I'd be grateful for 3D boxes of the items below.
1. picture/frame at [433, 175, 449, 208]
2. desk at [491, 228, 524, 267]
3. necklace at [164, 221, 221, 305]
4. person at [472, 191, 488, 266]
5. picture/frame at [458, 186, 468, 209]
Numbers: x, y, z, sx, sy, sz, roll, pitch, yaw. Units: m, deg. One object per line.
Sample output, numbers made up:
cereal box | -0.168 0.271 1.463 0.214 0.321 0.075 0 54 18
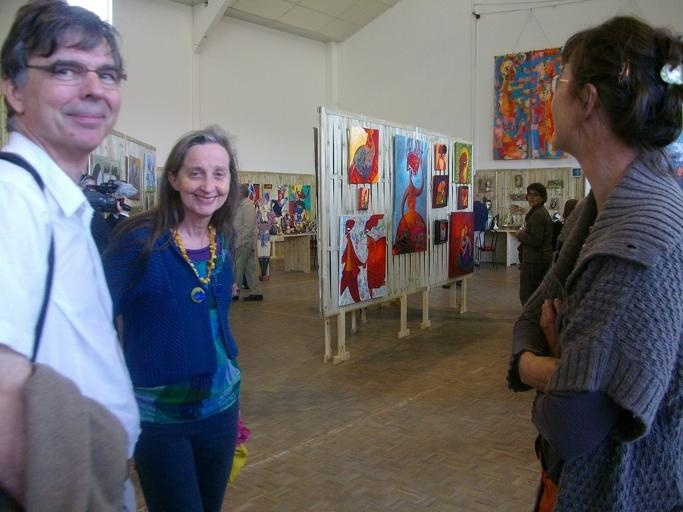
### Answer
picture/frame | 1.490 -0.977 7.566 0.040 0.490 0.487 6 11 41
desk | 4.256 -0.223 13.005 0.826 1.189 0.874 -2 -3 37
necklace | -0.567 0.022 2.030 0.144 0.296 0.078 6 -30 -31
person | 3.910 -0.663 14.236 0.380 1.774 1.450 1 6 17
picture/frame | 1.982 -0.977 8.277 0.032 0.319 0.332 1 4 28
